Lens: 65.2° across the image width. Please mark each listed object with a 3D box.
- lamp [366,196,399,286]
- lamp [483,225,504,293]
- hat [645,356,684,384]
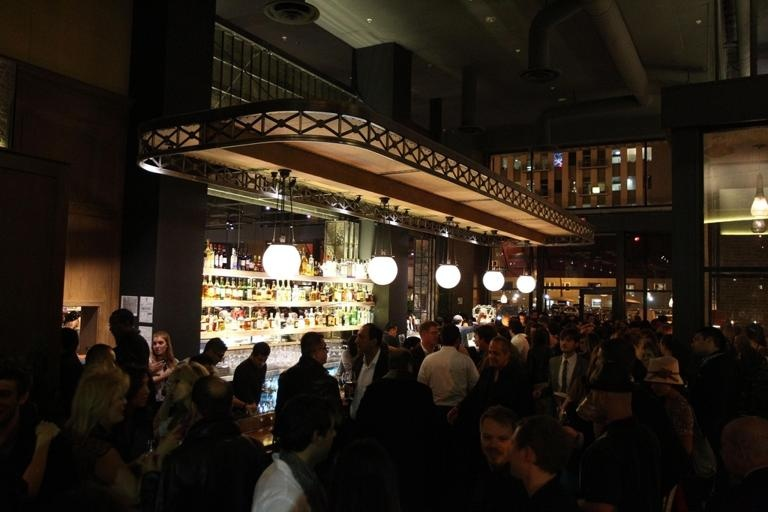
[{"bbox_3d":[-0.014,-0.190,7.921,0.439,1.119,0.459,4,3,30],"label":"lamp"},{"bbox_3d":[2.016,0.140,10.991,0.522,0.939,0.518,0,14,-3],"label":"lamp"},{"bbox_3d":[2.350,0.958,5.036,0.263,0.142,0.248,4,-7,22],"label":"hat"}]
